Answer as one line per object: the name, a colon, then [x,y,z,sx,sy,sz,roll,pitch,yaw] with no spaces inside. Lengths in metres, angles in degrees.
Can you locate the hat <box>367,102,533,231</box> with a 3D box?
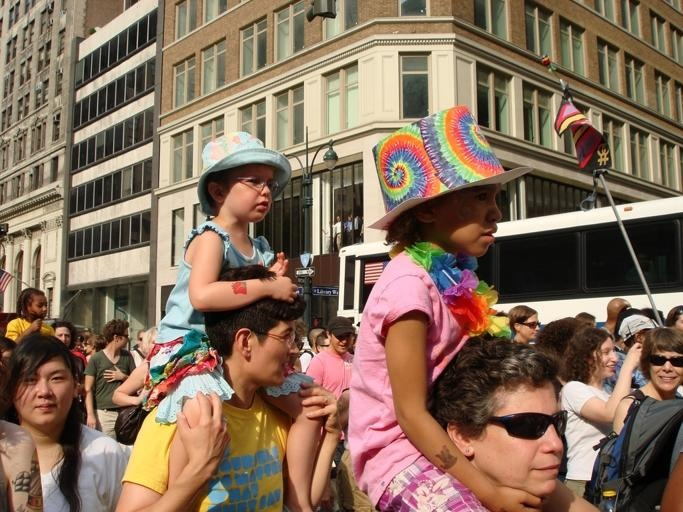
hat: [0.559,-0.461,4.128,0.660,0.370,0.629,-26,-3,21]

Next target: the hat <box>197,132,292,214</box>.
hat: [-0.654,-0.542,4.614,0.516,0.288,0.509,-26,-22,11]

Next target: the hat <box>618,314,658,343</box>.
hat: [3.446,0.824,8.679,0.355,0.247,0.298,3,17,-5]

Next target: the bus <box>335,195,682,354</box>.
bus: [4.055,0.975,17.017,9.868,3.226,2.899,-5,-11,43]

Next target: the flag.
flag: [3.543,-1.785,10.965,0.430,1.349,0.933,5,-10,-35]

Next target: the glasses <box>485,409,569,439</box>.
glasses: [0.925,0.832,3.689,0.394,0.131,0.135,3,-9,-23]
